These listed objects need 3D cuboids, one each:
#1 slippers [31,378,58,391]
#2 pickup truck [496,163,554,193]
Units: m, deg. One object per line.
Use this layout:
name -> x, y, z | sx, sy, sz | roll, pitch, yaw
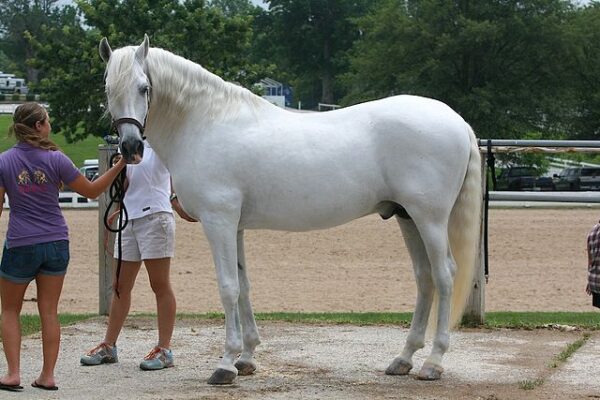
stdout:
slippers -> -9.426, 6.885, 46.599 | 0.883, 0.191, 0.384 | 8, 2, 28
pickup truck -> 12.691, -1.070, 70.444 | 3.062, 1.211, 1.605 | -4, 3, 7
